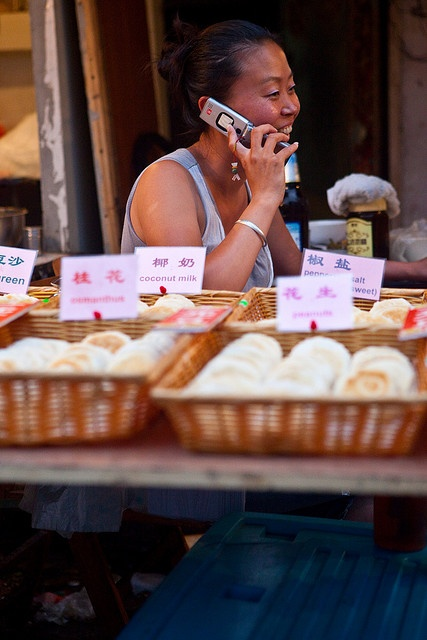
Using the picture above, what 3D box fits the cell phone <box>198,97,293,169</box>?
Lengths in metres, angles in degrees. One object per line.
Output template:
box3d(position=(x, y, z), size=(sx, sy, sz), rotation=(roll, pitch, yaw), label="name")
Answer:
box3d(position=(0.064, -0.529, 1.478), size=(0.219, 0.056, 0.153), rotation=(33, 9, 14), label="cell phone")

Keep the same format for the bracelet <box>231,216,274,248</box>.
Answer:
box3d(position=(0.111, -0.219, 1.379), size=(0.064, 0.063, 0.123), rotation=(2, 7, 33), label="bracelet")

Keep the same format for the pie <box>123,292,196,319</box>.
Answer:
box3d(position=(-0.076, -0.020, 0.847), size=(0.056, 0.019, 0.052), rotation=(-9, 15, -35), label="pie")
